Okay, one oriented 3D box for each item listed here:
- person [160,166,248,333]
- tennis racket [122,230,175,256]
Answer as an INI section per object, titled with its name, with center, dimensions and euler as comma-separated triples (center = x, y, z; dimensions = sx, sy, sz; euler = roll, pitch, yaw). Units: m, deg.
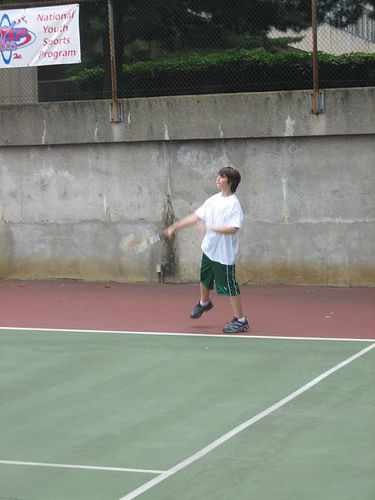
[person]
center = 0.296, -0.039, 10.270
dimensions = 0.638, 1.654, 1.928
euler = -1, 4, 3
[tennis racket]
center = -0.607, -0.135, 13.817
dimensions = 0.630, 0.373, 0.170
euler = -23, -9, 8
